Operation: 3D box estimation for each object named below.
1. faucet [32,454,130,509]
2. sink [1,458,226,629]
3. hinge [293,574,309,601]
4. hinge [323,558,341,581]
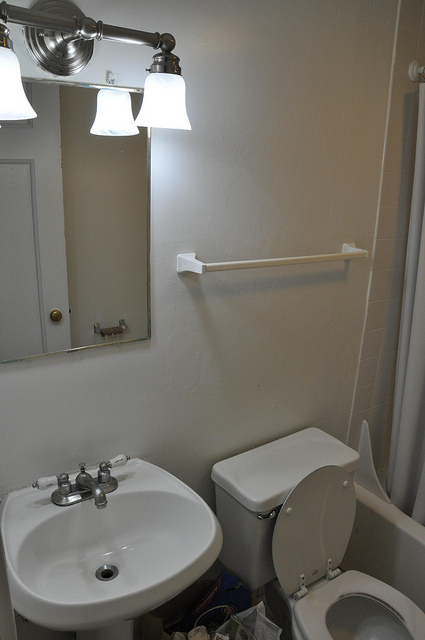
[{"bbox_3d":[-0.288,0.386,1.213,0.237,0.084,0.139,-9,16,-36],"label":"faucet"},{"bbox_3d":[-0.223,0.471,1.153,0.452,0.227,0.404,-12,6,-30],"label":"sink"},{"bbox_3d":[0.259,0.775,1.526,0.060,0.068,0.025,-12,7,-36],"label":"hinge"},{"bbox_3d":[0.364,0.765,1.598,0.060,0.064,0.023,-6,10,-39],"label":"hinge"}]
